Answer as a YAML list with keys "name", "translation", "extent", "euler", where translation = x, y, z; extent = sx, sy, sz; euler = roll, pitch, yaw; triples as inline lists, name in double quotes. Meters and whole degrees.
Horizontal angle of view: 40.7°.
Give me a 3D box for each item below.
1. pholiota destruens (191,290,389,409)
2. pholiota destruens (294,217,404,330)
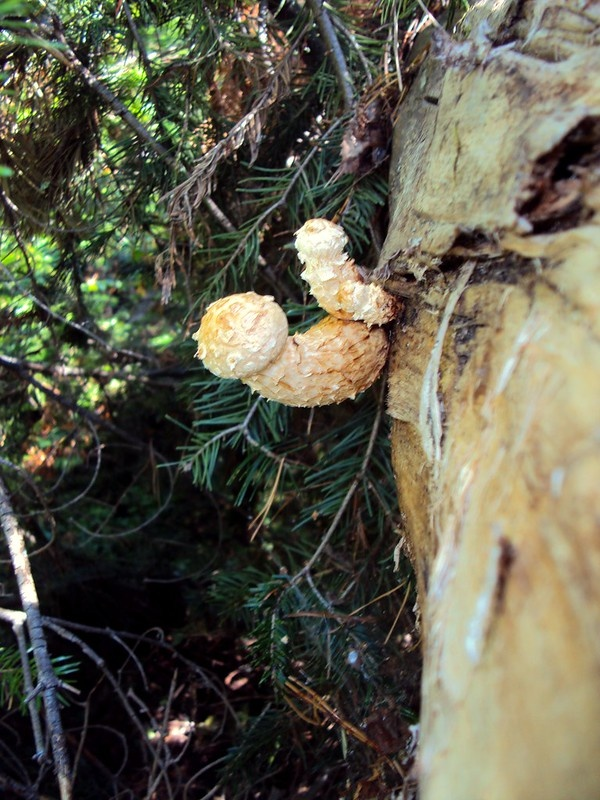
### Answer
- name: "pholiota destruens"
  translation: [-0.024, -0.062, 1.236]
  extent: [0.321, 0.105, 0.168]
  euler: [0, 32, -19]
- name: "pholiota destruens"
  translation: [0.112, -0.160, 1.236]
  extent: [0.147, 0.095, 0.265]
  euler: [10, -6, 13]
